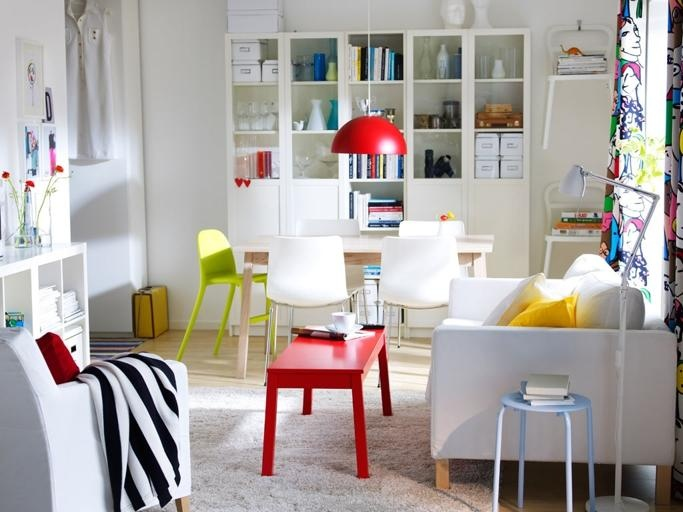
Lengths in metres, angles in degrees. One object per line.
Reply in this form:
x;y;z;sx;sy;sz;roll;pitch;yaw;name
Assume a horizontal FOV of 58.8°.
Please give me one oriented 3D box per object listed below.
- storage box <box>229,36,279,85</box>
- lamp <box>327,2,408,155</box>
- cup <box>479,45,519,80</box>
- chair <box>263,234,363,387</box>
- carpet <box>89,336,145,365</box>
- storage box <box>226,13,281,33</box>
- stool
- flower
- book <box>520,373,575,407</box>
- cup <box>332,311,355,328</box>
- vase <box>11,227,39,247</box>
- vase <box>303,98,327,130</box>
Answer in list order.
-0.793;-1.769;5.635;0.365;0.427;0.398;0;6;-1;storage box
0.238;-1.580;5.036;0.607;1.479;1.618;0;7;4;lamp
1.408;-1.752;5.473;0.338;0.274;0.212;-1;10;5;cup
-0.081;0.297;4.567;0.707;1.462;0.841;-1;3;6;chair
-1.633;0.681;4.410;0.328;0.003;0.404;-2;6;-7;carpet
-0.806;-2.130;5.560;0.457;0.178;0.069;-1;7;1;storage box
0.905;0.844;2.687;0.436;0.584;0.534;2;8;19;stool
-2.057;-0.359;4.130;0.419;0.605;0.325;-3;7;-34;flower
0.857;0.557;2.535;0.203;0.084;0.156;0;8;3;book
0.012;0.362;3.508;0.086;0.069;0.094;-2;6;0;cup
-2.028;-0.122;3.898;0.121;0.108;0.132;-1;4;-8;vase
-0.232;-1.282;5.484;0.213;0.280;0.226;0;5;16;vase
